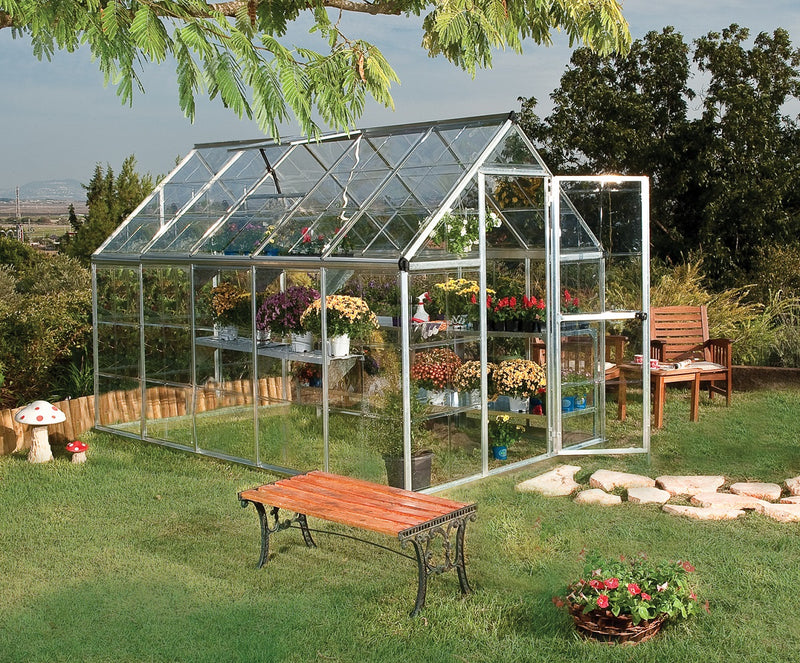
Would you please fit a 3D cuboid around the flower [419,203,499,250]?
[{"bbox_3d":[0.514,-0.921,8.450,0.127,0.415,0.713,4,10,38],"label":"flower"}]

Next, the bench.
[{"bbox_3d":[-0.350,1.543,6.798,1.770,0.762,0.760,2,9,43],"label":"bench"}]

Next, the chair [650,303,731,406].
[{"bbox_3d":[3.496,0.321,11.292,0.851,1.366,0.879,-2,-2,-7],"label":"chair"}]

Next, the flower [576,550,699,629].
[{"bbox_3d":[1.476,1.555,5.651,0.599,0.406,0.638,8,7,41],"label":"flower"}]

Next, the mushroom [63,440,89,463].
[{"bbox_3d":[-3.456,1.253,9.892,0.211,0.241,0.232,-1,9,-7],"label":"mushroom"}]

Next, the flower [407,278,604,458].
[{"bbox_3d":[0.872,0.352,8.961,0.577,1.872,1.918,4,9,34],"label":"flower"}]

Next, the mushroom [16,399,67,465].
[{"bbox_3d":[-3.948,1.036,10.136,0.548,0.798,0.589,1,3,-33],"label":"mushroom"}]

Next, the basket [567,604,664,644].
[{"bbox_3d":[1.236,1.685,5.597,0.255,0.104,0.279,0,-2,-18],"label":"basket"}]

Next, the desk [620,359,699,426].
[{"bbox_3d":[3.009,0.711,10.801,0.654,0.724,0.679,-5,8,-30],"label":"desk"}]
